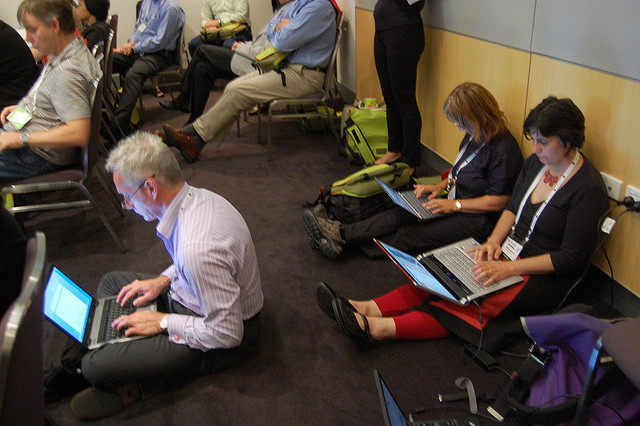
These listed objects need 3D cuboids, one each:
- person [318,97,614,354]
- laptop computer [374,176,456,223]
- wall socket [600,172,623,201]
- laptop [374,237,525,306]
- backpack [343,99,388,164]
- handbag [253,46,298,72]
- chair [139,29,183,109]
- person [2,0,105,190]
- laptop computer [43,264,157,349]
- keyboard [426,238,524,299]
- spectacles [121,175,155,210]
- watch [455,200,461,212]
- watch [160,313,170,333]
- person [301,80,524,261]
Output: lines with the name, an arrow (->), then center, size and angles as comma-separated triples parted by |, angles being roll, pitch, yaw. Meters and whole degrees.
person -> 0.816, 0.116, 2.434 | 1.504, 1.192, 0.654 | -15, 17, -11
laptop computer -> 0.628, -0.066, 2.949 | 0.457, 0.235, 0.378 | -1, 31, -10
wall socket -> 1.535, -0.137, 2.308 | 0.021, 0.105, 0.114 | -2, 21, -28
laptop -> 0.709, 0.326, 2.426 | 0.497, 0.180, 0.409 | -17, 33, -8
backpack -> 0.470, -0.721, 4.064 | 0.431, 0.465, 0.454 | -2, 10, -16
handbag -> -0.437, -1.465, 4.222 | 0.221, 0.119, 0.320 | -17, 11, 21
chair -> -1.850, -1.755, 5.235 | 0.392, 0.642, 0.408 | -3, 28, -35
person -> -1.847, -0.816, 2.948 | 0.715, 1.087, 0.559 | -11, 32, -26
laptop computer -> -1.102, 0.448, 2.219 | 0.483, 0.350, 0.351 | -2, 30, -12
keyboard -> 0.837, 0.309, 2.460 | 0.373, 0.051, 0.495 | -16, 27, -8
spectacles -> -0.863, -0.102, 2.080 | 0.107, 0.031, 0.106 | -39, 8, 6
watch -> 0.889, -0.040, 2.825 | 0.047, 0.061, 0.034 | 26, 36, 34
watch -> -0.773, 0.550, 2.180 | 0.044, 0.069, 0.023 | -13, -19, 36
person -> 0.615, -0.247, 2.901 | 1.360, 1.084, 0.698 | -9, 17, -7
